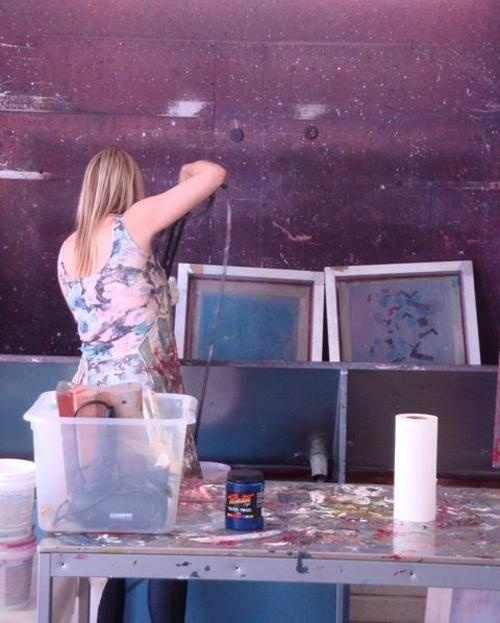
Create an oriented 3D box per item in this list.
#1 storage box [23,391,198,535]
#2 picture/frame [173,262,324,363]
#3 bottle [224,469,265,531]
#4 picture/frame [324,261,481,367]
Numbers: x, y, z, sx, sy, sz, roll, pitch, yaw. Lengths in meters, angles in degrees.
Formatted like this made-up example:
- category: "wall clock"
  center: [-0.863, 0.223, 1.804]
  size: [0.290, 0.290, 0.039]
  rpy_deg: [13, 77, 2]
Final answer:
- category: "storage box"
  center: [-0.270, 0.276, 1.441]
  size: [0.249, 0.195, 0.212]
  rpy_deg: [-1, 1, -5]
- category: "picture/frame"
  center: [-0.015, 0.022, 3.147]
  size: [0.354, 0.345, 0.029]
  rpy_deg: [3, -13, -6]
- category: "bottle"
  center: [-0.015, 0.352, 1.444]
  size: [0.090, 0.148, 0.095]
  rpy_deg: [0, -5, 0]
- category: "picture/frame"
  center: [0.633, 0.021, 3.170]
  size: [0.381, 0.427, 0.029]
  rpy_deg: [-1, -20, 5]
